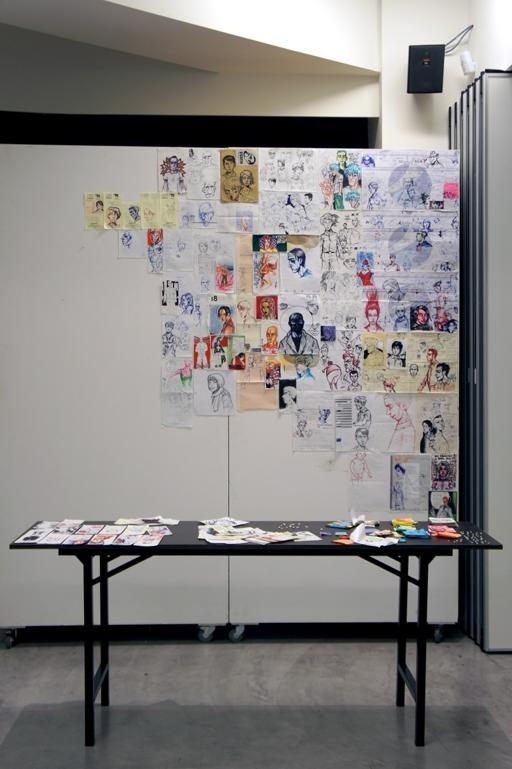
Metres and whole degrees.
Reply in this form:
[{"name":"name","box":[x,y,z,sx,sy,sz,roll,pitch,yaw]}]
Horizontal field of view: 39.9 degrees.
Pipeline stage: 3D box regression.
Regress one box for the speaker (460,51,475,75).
[{"name":"speaker","box":[1.122,-1.712,3.766,0.074,0.120,0.122,0,0,15]}]
